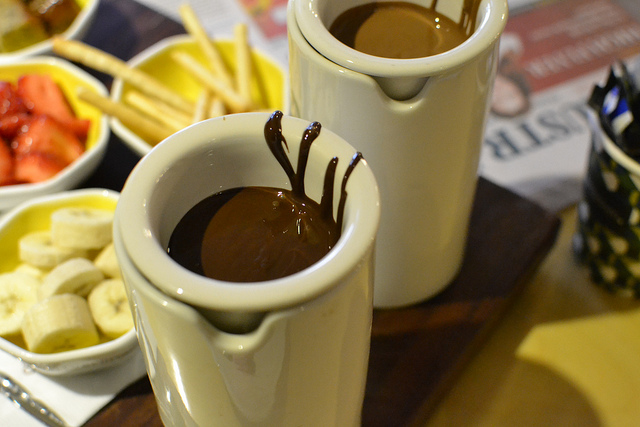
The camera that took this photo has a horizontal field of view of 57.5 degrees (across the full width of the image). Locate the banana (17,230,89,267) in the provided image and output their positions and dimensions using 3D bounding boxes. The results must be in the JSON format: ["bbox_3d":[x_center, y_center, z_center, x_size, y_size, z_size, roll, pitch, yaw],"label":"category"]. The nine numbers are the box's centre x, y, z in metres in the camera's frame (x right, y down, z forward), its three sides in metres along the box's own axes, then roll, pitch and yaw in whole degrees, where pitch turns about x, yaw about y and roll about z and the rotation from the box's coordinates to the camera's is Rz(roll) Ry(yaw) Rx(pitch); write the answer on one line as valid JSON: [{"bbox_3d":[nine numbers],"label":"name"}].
[{"bbox_3d":[-0.469,0.061,0.995,0.070,0.020,0.077,10,20,-4],"label":"banana"}]

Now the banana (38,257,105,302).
[{"bbox_3d":[-0.408,0.108,0.966,0.070,0.073,0.018,-30,71,-24],"label":"banana"}]

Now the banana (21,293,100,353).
[{"bbox_3d":[-0.409,0.173,0.918,0.089,0.062,0.098,-18,34,-1],"label":"banana"}]
